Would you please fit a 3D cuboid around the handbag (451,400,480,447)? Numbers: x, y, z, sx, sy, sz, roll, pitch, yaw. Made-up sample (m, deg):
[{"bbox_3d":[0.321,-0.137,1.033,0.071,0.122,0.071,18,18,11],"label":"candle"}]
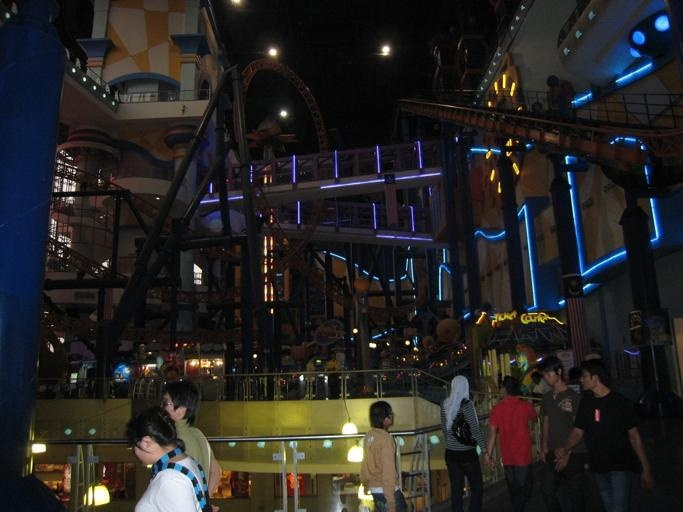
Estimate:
[{"bbox_3d":[1.529,2.105,7.732,0.342,0.669,0.451,-4,-17,20],"label":"handbag"}]
